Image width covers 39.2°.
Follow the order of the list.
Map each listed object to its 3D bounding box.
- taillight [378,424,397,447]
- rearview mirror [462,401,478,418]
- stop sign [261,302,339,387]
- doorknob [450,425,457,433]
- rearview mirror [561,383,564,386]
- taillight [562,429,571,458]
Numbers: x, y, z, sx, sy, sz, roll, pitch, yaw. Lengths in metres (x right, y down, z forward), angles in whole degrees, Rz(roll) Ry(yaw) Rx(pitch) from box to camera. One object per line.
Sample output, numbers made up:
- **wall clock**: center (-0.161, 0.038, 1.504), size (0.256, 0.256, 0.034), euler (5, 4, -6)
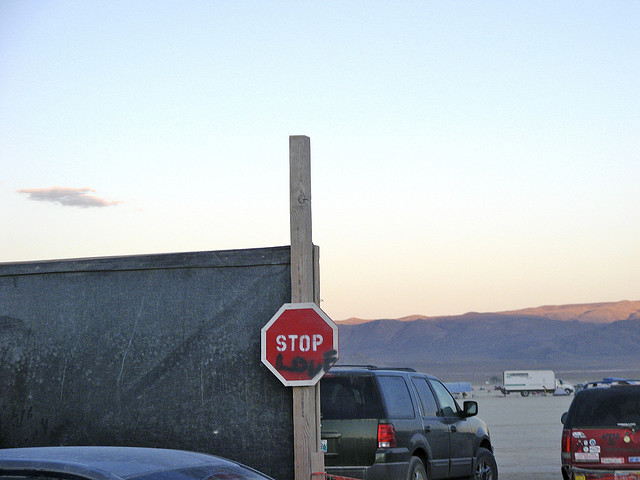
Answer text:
- **taillight**: center (0.958, 2.835, 13.127), size (0.268, 0.308, 0.272), euler (4, -8, -27)
- **rearview mirror**: center (2.641, 2.987, 15.867), size (0.261, 0.302, 0.649), euler (-5, -2, 10)
- **stop sign**: center (-0.265, 1.312, 11.357), size (1.009, 1.005, 0.215), euler (-5, -1, 11)
- **doorknob**: center (2.274, 3.206, 15.302), size (0.075, 0.133, 0.048), euler (-2, -1, 4)
- **rearview mirror**: center (31.964, 18.915, 118.414), size (0.325, 0.407, 0.069), euler (0, 1, 7)
- **taillight**: center (3.910, 3.211, 14.239), size (0.104, 0.451, 0.259), euler (-4, -1, -13)
